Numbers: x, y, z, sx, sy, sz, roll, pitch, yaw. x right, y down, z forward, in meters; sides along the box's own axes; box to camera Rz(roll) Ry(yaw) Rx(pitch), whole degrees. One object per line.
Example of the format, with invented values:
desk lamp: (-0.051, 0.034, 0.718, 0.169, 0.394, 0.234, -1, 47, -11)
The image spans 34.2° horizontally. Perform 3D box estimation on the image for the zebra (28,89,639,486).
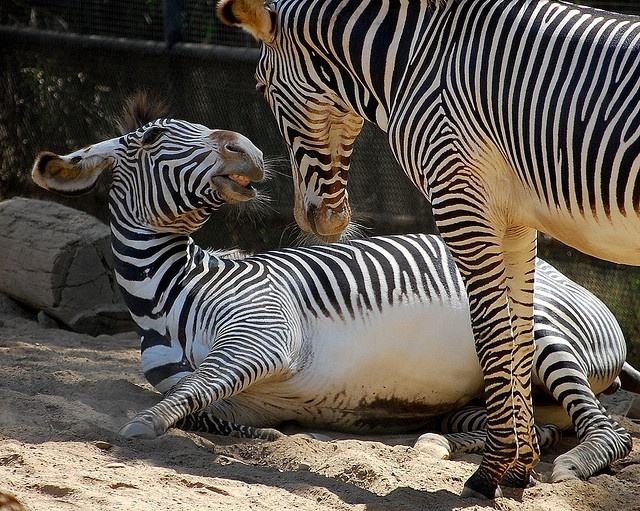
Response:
zebra: (0.039, 0.282, 5.677, 3.368, 2.354, 1.351, 3, -12, -17)
